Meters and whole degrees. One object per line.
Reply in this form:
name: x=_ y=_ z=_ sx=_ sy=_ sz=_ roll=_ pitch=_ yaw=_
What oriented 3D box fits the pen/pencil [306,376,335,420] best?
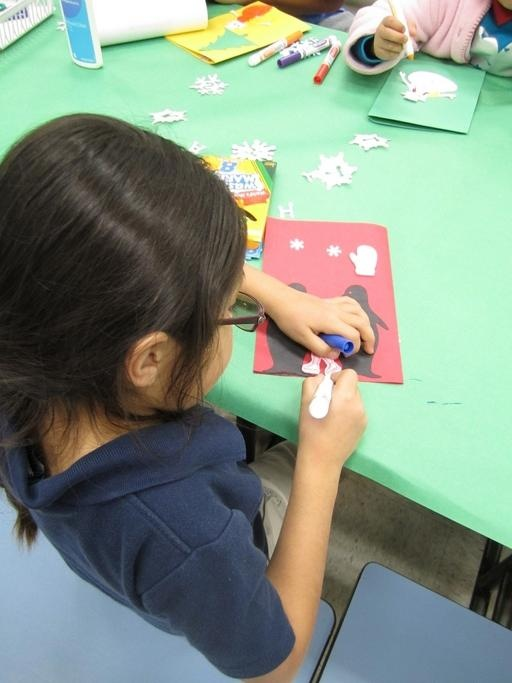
pen/pencil: x=0.075 y=0.068 z=0.673 sx=0.018 sy=0.017 sz=0.063 roll=6 pitch=22 yaw=8

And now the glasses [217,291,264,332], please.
glasses: x=-0.018 y=-0.037 z=0.655 sx=0.047 sy=0.013 sz=0.045 roll=-24 pitch=51 yaw=-14

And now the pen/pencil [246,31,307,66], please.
pen/pencil: x=0.041 y=-0.602 z=1.188 sx=0.152 sy=0.026 sz=0.029 roll=-35 pitch=20 yaw=-24
